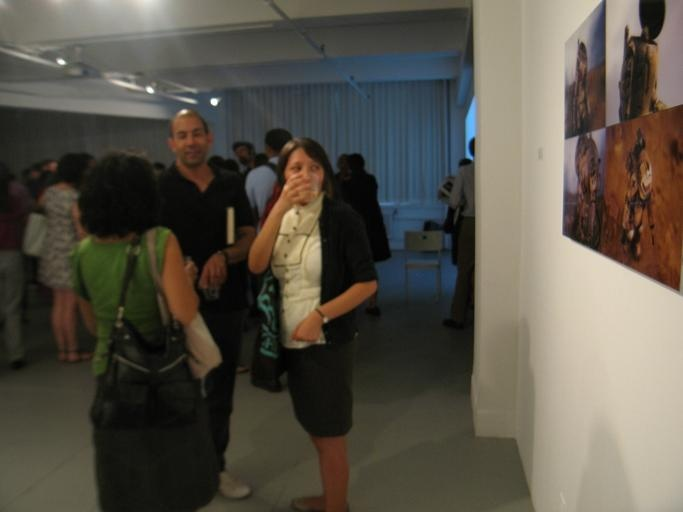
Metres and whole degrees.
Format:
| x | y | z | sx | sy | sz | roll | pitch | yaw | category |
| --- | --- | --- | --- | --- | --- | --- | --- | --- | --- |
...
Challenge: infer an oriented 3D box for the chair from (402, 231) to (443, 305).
| x | y | z | sx | sy | sz | roll | pitch | yaw | category |
| --- | --- | --- | --- | --- | --- | --- | --- | --- | --- |
| 1.000 | -0.023 | 6.409 | 0.487 | 0.908 | 0.605 | 4 | 28 | 15 | chair |

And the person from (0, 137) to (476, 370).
| x | y | z | sx | sy | sz | roll | pitch | yaw | category |
| --- | --- | --- | --- | --- | --- | --- | --- | --- | --- |
| -0.695 | 0.026 | 3.389 | 2.122 | 0.575 | 1.521 | 0 | 11 | 0 | person |

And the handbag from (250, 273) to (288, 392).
| x | y | z | sx | sy | sz | roll | pitch | yaw | category |
| --- | --- | --- | --- | --- | --- | --- | --- | --- | --- |
| -0.333 | 0.327 | 2.272 | 0.140 | 0.444 | 0.108 | 14 | 8 | 32 | handbag |

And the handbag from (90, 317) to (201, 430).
| x | y | z | sx | sy | sz | roll | pitch | yaw | category |
| --- | --- | --- | --- | --- | --- | --- | --- | --- | --- |
| -0.734 | 0.473 | 1.982 | 0.419 | 0.440 | 0.235 | 9 | -18 | -40 | handbag |

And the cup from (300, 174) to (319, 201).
| x | y | z | sx | sy | sz | roll | pitch | yaw | category |
| --- | --- | --- | --- | --- | --- | --- | --- | --- | --- |
| -0.130 | -0.275 | 2.204 | 0.078 | 0.125 | 0.116 | -2 | 10 | -5 | cup |

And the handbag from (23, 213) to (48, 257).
| x | y | z | sx | sy | sz | roll | pitch | yaw | category |
| --- | --- | --- | --- | --- | --- | --- | --- | --- | --- |
| -2.519 | -0.176 | 4.273 | 0.238 | 0.364 | 0.070 | 0 | 9 | 7 | handbag |

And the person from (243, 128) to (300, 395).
| x | y | z | sx | sy | sz | roll | pitch | yaw | category |
| --- | --- | --- | --- | --- | --- | --- | --- | --- | --- |
| -0.798 | -0.121 | 4.884 | 0.514 | 2.059 | 0.537 | 7 | 25 | -5 | person |

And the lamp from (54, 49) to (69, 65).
| x | y | z | sx | sy | sz | roll | pitch | yaw | category |
| --- | --- | --- | --- | --- | --- | --- | --- | --- | --- |
| -2.544 | -1.793 | 4.722 | 0.113 | 0.056 | 0.171 | -4 | 40 | -23 | lamp |
